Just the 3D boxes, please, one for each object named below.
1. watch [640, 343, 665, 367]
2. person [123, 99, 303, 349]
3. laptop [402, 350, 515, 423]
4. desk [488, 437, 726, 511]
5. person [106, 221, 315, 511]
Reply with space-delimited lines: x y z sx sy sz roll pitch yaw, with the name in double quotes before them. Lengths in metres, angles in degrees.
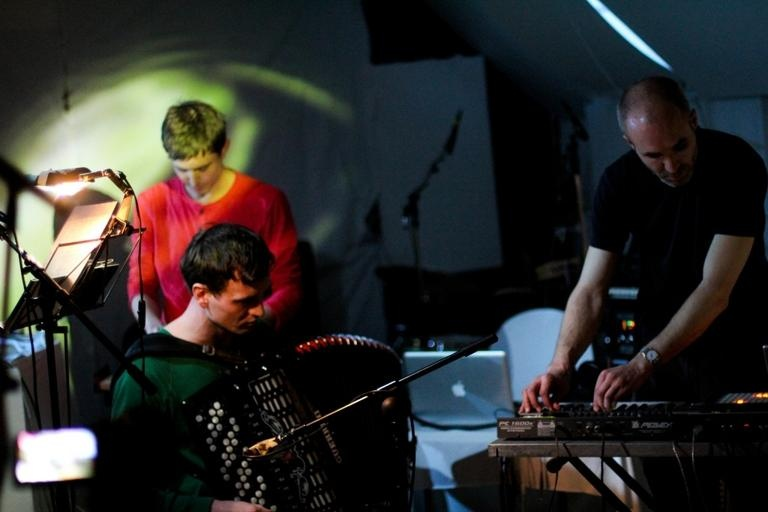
"watch" 1.108 0.412 3.181 0.056 0.089 0.089 -31 -25 -7
"person" -1.000 -0.082 4.340 0.950 1.548 0.900 -5 26 -8
"laptop" 0.335 0.670 3.845 0.620 0.451 0.471 -4 -14 13
"desk" 0.920 0.954 3.352 0.897 0.377 0.919 -3 -10 6
"person" -0.828 0.458 3.381 0.684 1.249 0.604 2 -9 -22
